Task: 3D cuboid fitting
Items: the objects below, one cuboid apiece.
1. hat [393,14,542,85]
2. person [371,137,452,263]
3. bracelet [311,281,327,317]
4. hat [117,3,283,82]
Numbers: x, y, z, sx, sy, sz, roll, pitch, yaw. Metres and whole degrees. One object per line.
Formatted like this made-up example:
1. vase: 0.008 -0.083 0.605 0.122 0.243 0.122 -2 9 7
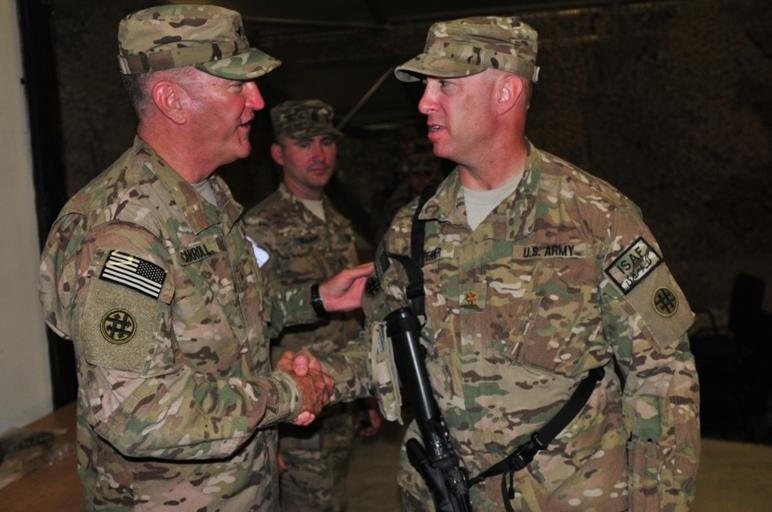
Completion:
1. hat: 0.392 -1.002 5.176 0.550 0.212 0.355 -2 8 -8
2. person: 0.248 -0.442 7.887 0.670 0.796 0.332 9 9 -26
3. bracelet: -0.382 0.248 5.776 0.067 0.142 0.135 -12 -11 9
4. hat: -0.984 -1.050 5.214 0.654 0.220 0.403 0 16 -5
